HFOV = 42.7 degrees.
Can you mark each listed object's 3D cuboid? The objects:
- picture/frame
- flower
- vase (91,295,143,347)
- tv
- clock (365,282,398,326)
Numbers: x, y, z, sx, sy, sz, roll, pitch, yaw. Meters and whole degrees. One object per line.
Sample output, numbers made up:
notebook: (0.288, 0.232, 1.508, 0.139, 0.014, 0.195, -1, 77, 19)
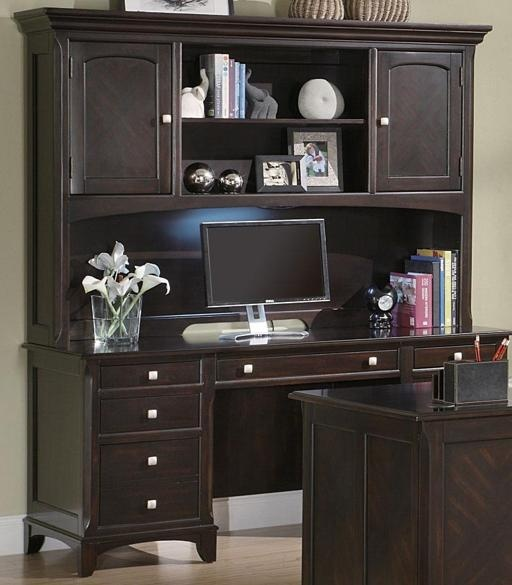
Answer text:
picture/frame: (0.206, -0.603, 3.010, 0.364, 0.257, 0.026, -3, -3, -13)
flower: (-0.431, 0.006, 2.805, 0.374, 0.436, 0.406, 5, -7, 2)
vase: (-0.591, 0.127, 2.768, 0.210, 0.167, 0.203, 2, -3, -24)
tv: (0.022, -0.068, 3.027, 0.580, 0.481, 0.164, -4, 3, -22)
clock: (0.606, 0.066, 3.170, 0.158, 0.204, 0.131, 2, 7, 4)
